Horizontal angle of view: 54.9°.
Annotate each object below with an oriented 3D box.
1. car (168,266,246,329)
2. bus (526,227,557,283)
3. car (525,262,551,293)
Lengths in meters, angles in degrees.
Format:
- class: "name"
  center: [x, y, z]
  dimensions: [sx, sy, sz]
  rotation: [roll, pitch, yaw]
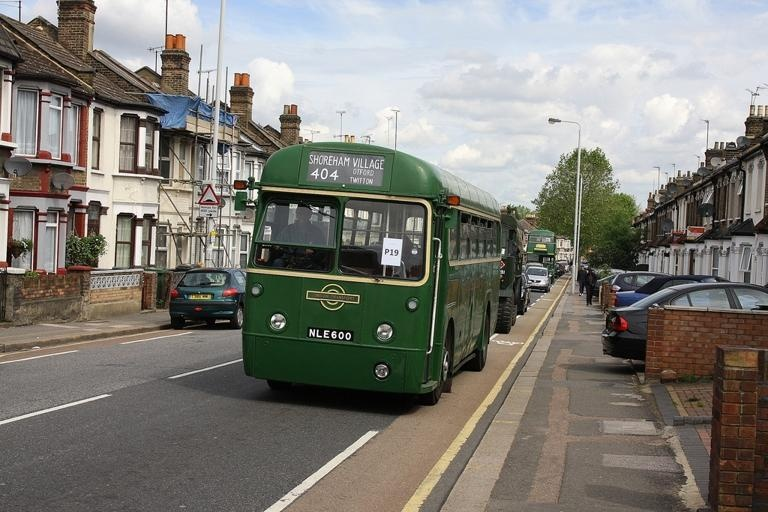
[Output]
- class: "car"
  center: [-5.766, 1.385, 24.436]
  dimensions: [1.811, 1.479, 3.634]
  rotation: [-1, -4, 3]
- class: "bus"
  center: [15.187, -0.808, 71.425]
  dimensions: [2.843, 4.180, 8.109]
  rotation: [0, -2, 13]
- class: "car"
  center: [12.082, 1.682, 58.243]
  dimensions: [2.173, 1.896, 5.330]
  rotation: [0, -5, 13]
